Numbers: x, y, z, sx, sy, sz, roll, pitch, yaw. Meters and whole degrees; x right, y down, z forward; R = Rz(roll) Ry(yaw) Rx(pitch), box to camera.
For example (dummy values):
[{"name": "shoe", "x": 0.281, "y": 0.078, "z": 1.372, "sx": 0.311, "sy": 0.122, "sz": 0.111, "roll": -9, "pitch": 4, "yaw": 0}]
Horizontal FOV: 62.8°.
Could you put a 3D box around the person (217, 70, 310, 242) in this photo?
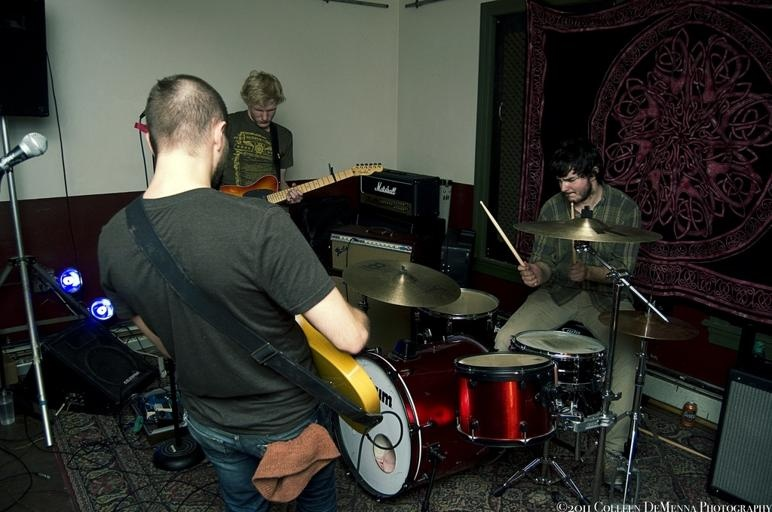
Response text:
[{"name": "person", "x": -1.049, "y": -0.796, "z": 5.132, "sx": 0.645, "sy": 1.251, "sz": 0.197, "roll": 2, "pitch": 6, "yaw": -16}]

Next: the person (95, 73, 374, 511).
[{"name": "person", "x": -0.604, "y": 0.228, "z": 2.604, "sx": 1.019, "sy": 1.872, "sz": 0.458, "roll": 6, "pitch": 18, "yaw": 23}]

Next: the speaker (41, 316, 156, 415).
[{"name": "speaker", "x": -1.928, "y": 0.746, "z": 4.197, "sx": 0.658, "sy": 0.477, "sz": 0.473, "roll": 26, "pitch": 42, "yaw": 27}]

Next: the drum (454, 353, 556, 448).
[{"name": "drum", "x": 0.610, "y": 0.764, "z": 3.317, "sx": 0.487, "sy": 0.324, "sz": 0.469, "roll": -1, "pitch": 5, "yaw": 0}]

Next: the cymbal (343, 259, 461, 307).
[{"name": "cymbal", "x": 0.095, "y": 0.158, "z": 3.643, "sx": 0.397, "sy": 0.089, "sz": 0.388, "roll": 19, "pitch": 27, "yaw": 16}]

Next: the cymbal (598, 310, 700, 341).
[{"name": "cymbal", "x": 1.510, "y": 0.396, "z": 3.574, "sx": 0.417, "sy": 0.084, "sz": 0.290, "roll": 10, "pitch": 19, "yaw": 37}]

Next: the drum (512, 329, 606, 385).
[{"name": "drum", "x": 1.026, "y": 0.560, "z": 3.646, "sx": 0.338, "sy": 0.114, "sz": 0.334, "roll": 3, "pitch": 7, "yaw": 0}]

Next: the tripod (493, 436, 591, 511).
[{"name": "tripod", "x": 0.947, "y": 1.285, "z": 3.899, "sx": 0.517, "sy": 0.440, "sz": 0.573, "roll": 10, "pitch": 1, "yaw": 29}]

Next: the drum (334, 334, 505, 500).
[{"name": "drum", "x": 0.168, "y": 0.942, "z": 3.743, "sx": 0.873, "sy": 0.991, "sz": 0.874, "roll": -5, "pitch": 7, "yaw": -38}]
